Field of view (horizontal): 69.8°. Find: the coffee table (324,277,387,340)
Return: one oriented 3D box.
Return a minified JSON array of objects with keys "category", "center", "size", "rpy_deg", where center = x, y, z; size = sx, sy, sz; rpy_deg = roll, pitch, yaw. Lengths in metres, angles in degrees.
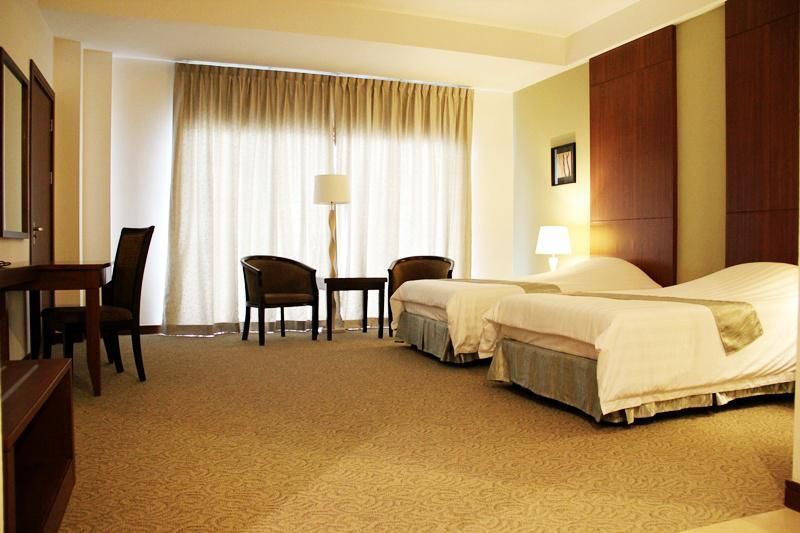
[{"category":"coffee table","center":[-0.562,0.478,6.941],"size":[0.748,0.758,0.877],"rpy_deg":[-1,8,-8]}]

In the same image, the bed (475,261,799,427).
[{"category":"bed","center":[1.970,0.614,4.378],"size":[1.872,0.804,1.239],"rpy_deg":[1,-3,-17]}]

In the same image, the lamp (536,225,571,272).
[{"category":"lamp","center":[1.892,-0.208,7.250],"size":[0.510,0.807,0.539],"rpy_deg":[-1,1,18]}]

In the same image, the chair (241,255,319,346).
[{"category":"chair","center":[-1.393,0.366,6.677],"size":[0.903,0.944,0.864],"rpy_deg":[-4,9,-29]}]
